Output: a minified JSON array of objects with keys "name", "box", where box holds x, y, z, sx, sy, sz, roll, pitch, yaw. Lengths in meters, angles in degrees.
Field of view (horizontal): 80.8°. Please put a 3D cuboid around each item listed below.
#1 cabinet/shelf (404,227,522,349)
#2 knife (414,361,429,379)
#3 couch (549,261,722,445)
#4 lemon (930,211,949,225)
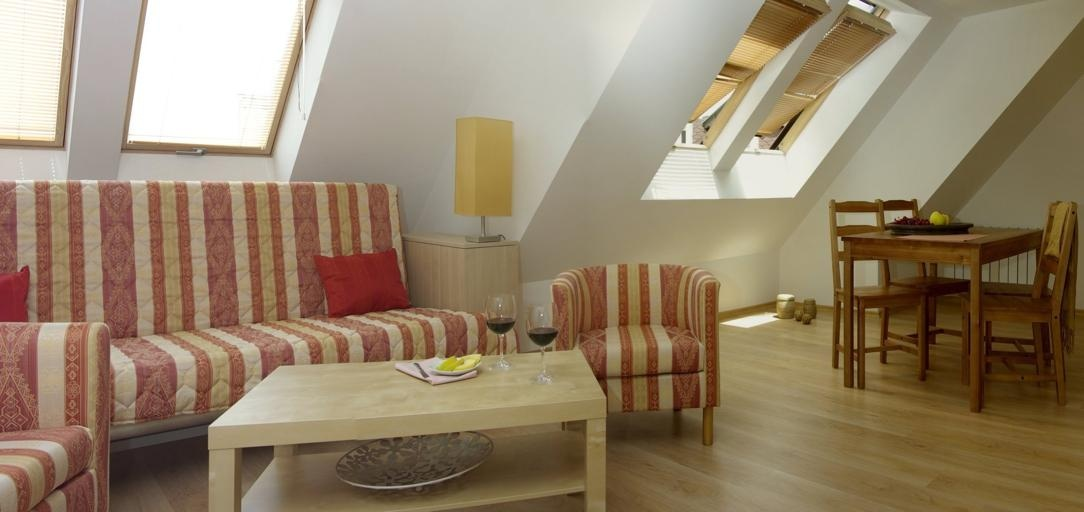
[{"name":"cabinet/shelf","box":[-0.686,0.286,5.451,0.685,0.973,1.222,-3,4,-40]},{"name":"knife","box":[-0.817,0.778,4.362,0.046,0.015,0.218,-24,18,-17]},{"name":"couch","box":[0.853,0.709,5.280,1.380,1.096,1.001,-3,12,17]},{"name":"lemon","box":[3.675,-0.347,5.917,0.207,0.102,0.259,2,-4,38]}]
